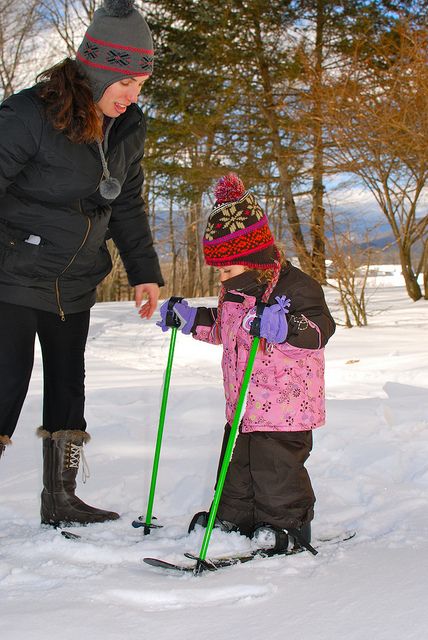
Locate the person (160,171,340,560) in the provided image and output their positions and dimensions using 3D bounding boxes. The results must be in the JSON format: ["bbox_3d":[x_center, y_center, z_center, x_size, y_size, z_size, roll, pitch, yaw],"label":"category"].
[{"bbox_3d":[0.140,0.109,2.301,0.528,1.402,0.632,-2,1,-14],"label":"person"}]

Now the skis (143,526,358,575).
[{"bbox_3d":[0.131,0.790,2.034,0.966,0.058,0.131,2,-1,-28],"label":"skis"}]
